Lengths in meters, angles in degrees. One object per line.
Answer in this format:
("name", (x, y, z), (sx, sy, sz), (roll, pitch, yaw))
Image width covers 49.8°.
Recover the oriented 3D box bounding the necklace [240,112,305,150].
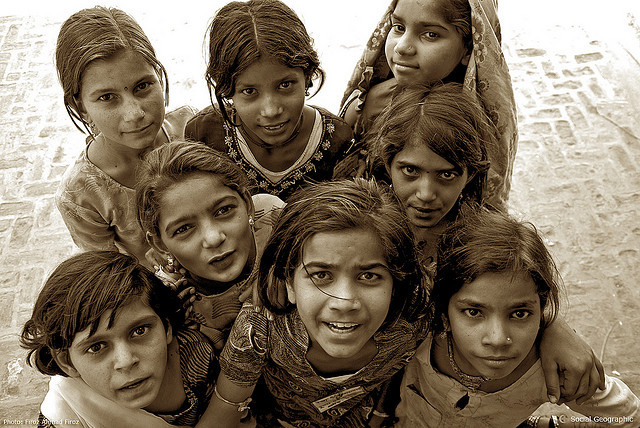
("necklace", (-0.315, -0.581, 4.762), (0.296, 0.220, 0.353), (-12, 4, -9))
